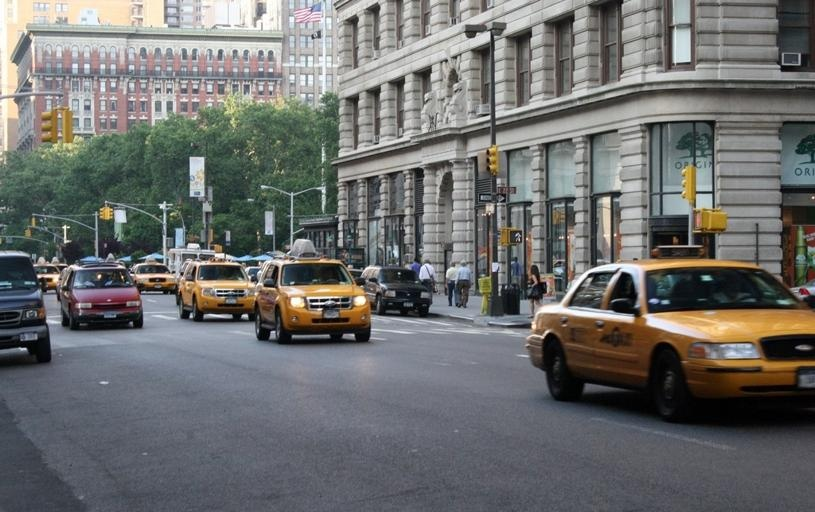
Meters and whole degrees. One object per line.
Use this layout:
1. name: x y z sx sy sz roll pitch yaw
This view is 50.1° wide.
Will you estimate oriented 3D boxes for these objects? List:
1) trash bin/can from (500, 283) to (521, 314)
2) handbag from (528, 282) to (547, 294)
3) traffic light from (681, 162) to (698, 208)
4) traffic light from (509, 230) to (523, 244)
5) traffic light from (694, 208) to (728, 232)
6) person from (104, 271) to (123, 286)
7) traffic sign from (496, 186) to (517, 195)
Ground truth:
1. trash bin/can: 4.254 1.758 35.638 1.014 1.444 1.043 -1 2 -8
2. handbag: 4.787 1.183 32.542 0.422 0.206 0.551 1 -9 -21
3. traffic light: 9.144 -2.290 28.362 0.357 1.376 1.091 -1 0 14
4. traffic light: 4.313 -0.784 35.044 0.552 0.577 0.204 0 -1 -1
5. traffic light: 9.625 -1.113 27.425 1.061 0.950 0.752 1 -1 -8
6. person: -10.640 0.817 31.515 0.471 0.359 0.776 0 3 -17
7. traffic sign: 3.966 -2.643 34.831 0.592 0.322 1.663 -1 0 15
